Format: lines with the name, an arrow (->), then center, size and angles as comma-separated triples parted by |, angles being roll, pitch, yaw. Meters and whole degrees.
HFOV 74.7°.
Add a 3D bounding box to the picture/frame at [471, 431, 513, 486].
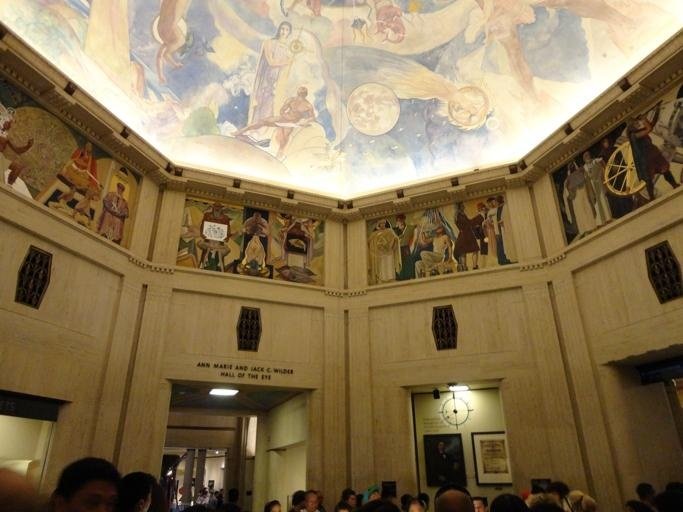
picture/frame -> 4.150, 5.547, 12.300 | 1.045, 1.261, 0.047 | -19, -32, 34
